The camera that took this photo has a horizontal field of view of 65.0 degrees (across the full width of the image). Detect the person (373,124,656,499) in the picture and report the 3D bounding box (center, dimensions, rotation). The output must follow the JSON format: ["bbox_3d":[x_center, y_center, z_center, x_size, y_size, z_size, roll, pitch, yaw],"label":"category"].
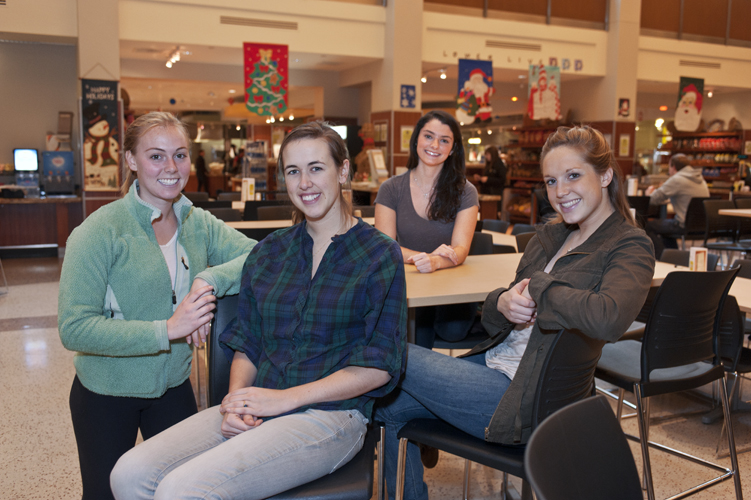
[{"bbox_3d":[0.685,0.334,2.642,1.078,1.712,0.775,-12,18,-39],"label":"person"}]

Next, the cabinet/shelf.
[{"bbox_3d":[5.831,-2.237,13.857,3.715,1.527,3.653,-5,10,-23],"label":"cabinet/shelf"}]
